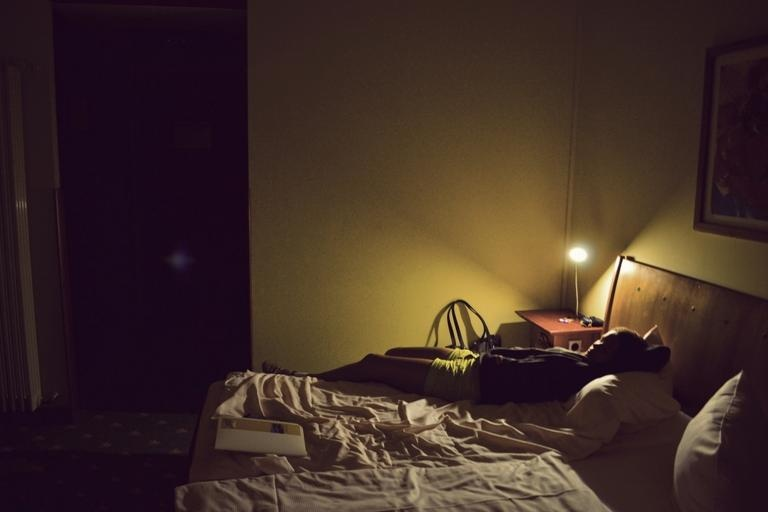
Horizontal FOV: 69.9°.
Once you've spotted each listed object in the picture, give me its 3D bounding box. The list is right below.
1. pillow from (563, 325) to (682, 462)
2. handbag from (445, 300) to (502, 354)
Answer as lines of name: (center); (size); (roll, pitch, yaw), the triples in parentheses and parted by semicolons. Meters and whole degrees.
pillow: (1.355, 0.866, 3.152); (0.535, 0.165, 0.478); (-30, 21, 29)
handbag: (0.703, 0.578, 4.552); (0.472, 0.511, 0.342); (-2, 1, 17)
